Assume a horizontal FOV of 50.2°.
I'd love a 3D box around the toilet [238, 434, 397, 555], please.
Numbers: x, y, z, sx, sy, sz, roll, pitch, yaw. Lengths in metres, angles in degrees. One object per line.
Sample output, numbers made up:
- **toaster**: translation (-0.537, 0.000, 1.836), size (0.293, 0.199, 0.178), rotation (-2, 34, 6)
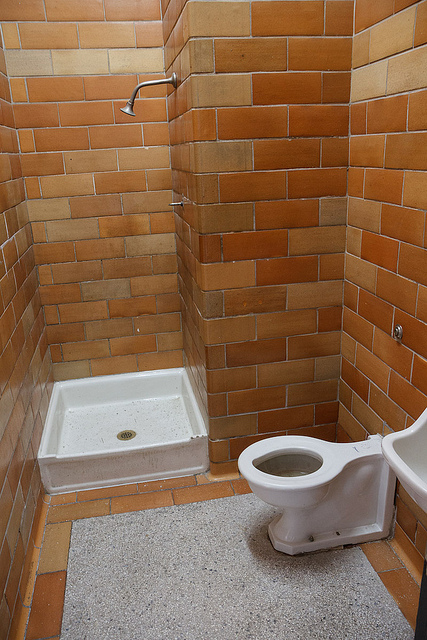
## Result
- **toilet**: translation (0.360, 0.603, 1.582), size (0.467, 0.340, 0.319), rotation (-8, 17, -6)
